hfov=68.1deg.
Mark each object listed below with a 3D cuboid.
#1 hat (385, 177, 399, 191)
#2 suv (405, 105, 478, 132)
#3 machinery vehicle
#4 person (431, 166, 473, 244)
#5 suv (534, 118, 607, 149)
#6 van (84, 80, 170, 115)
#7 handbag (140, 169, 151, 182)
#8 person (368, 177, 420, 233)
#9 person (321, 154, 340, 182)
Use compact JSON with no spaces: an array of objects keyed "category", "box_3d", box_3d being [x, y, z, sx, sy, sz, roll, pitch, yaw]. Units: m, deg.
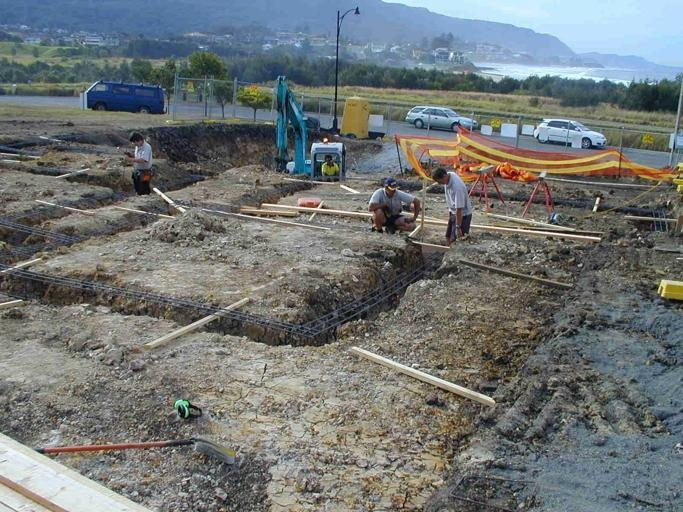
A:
[{"category":"hat","box_3d":[0.997,-1.505,10.162,0.254,0.198,0.335,-5,17,-18]},{"category":"suv","box_3d":[5.859,-8.496,30.520,1.562,1.395,4.523,-12,22,-33]},{"category":"machinery vehicle","box_3d":[-1.029,-4.365,17.827,2.809,3.308,1.920,8,22,11]},{"category":"person","box_3d":[2.309,-1.075,10.677,0.932,2.490,1.030,-6,57,8]},{"category":"suv","box_3d":[11.888,-6.403,26.368,3.817,1.346,1.772,9,22,22]},{"category":"van","box_3d":[-11.883,-8.969,27.909,3.802,1.611,1.870,3,22,-15]},{"category":"handbag","box_3d":[-4.624,-1.967,11.922,0.215,0.253,0.253,4,-6,-23]},{"category":"person","box_3d":[1.064,-1.068,10.364,0.965,1.189,0.619,1,19,3]},{"category":"person","box_3d":[-0.360,-3.029,16.818,0.580,0.814,0.341,1,20,2]}]
